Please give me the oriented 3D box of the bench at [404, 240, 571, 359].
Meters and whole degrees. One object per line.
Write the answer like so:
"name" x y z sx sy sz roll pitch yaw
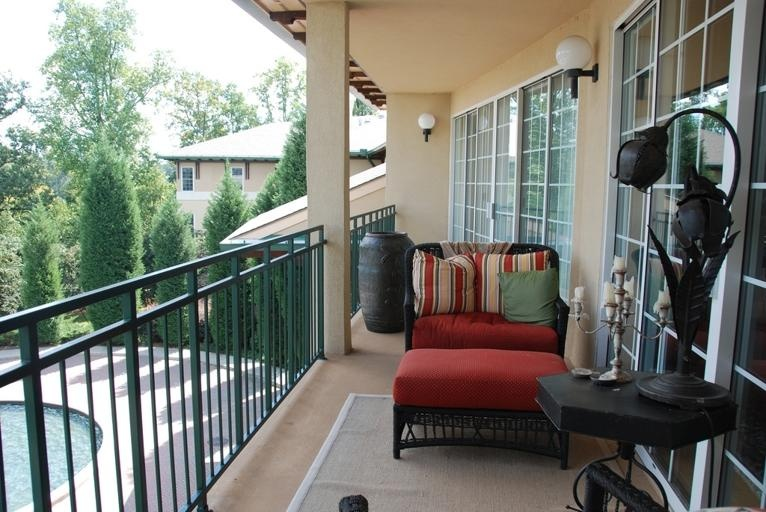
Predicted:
"bench" 0.760 0.354 4.647 1.297 1.135 0.787 0 1 4

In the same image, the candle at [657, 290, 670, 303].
"candle" 1.365 0.192 2.851 0.055 0.060 0.046 1 -7 -3

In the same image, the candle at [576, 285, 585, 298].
"candle" 1.076 0.203 3.221 0.036 0.069 0.142 1 4 23

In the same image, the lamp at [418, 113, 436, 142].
"lamp" 0.647 -1.894 8.708 0.270 0.408 0.280 -1 4 3

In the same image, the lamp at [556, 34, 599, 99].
"lamp" 1.525 -1.431 4.556 0.285 0.459 0.413 1 4 31
